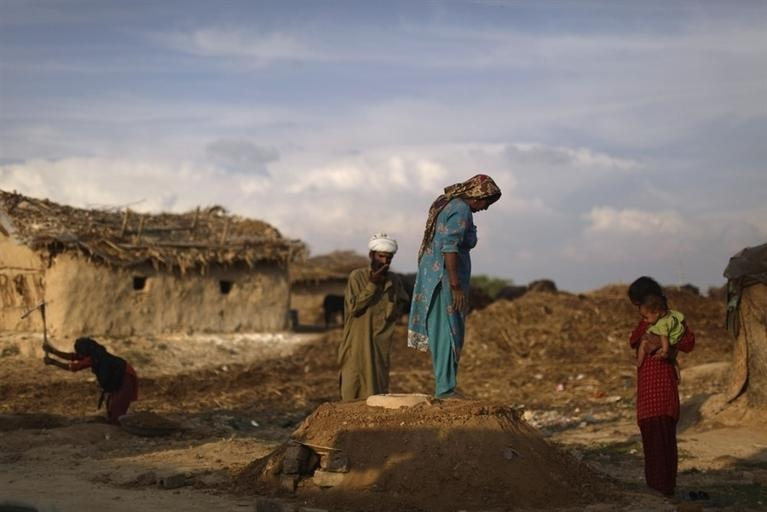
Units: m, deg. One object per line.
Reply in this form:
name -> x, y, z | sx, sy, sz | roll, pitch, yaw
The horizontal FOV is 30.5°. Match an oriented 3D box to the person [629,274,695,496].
person -> 3.808, 1.848, 19.757 | 0.807, 2.966, 0.686 | 3, 10, 19

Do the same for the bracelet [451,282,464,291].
bracelet -> 1.097, 0.473, 20.415 | 0.120, 0.109, 0.305 | 5, 10, 32

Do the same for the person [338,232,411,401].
person -> -0.240, 0.915, 21.278 | 0.730, 2.504, 1.148 | 7, 11, 37

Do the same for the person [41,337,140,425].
person -> -4.488, 1.987, 22.286 | 1.002, 1.317, 1.604 | -6, 10, -33

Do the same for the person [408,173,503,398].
person -> 0.966, 0.466, 20.497 | 1.206, 3.159, 0.673 | 0, 9, 3
